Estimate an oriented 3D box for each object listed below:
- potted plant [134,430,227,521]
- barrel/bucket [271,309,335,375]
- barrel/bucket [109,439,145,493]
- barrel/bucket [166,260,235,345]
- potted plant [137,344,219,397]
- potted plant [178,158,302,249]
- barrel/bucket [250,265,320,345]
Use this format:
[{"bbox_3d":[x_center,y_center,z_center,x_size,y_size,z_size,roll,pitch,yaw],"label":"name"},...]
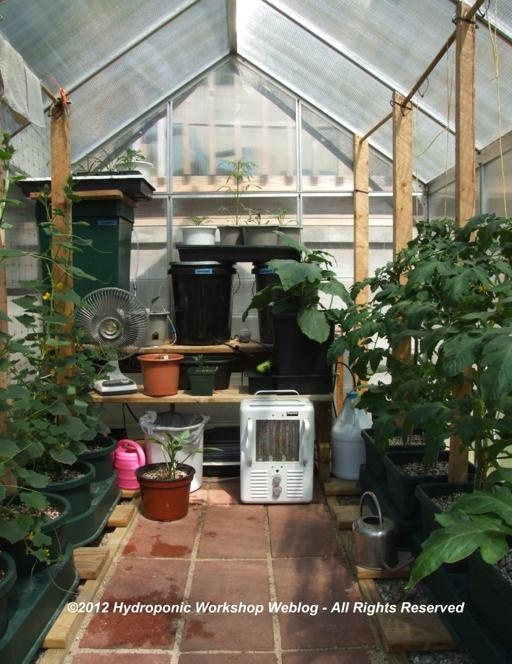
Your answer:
[{"bbox_3d":[-0.432,0.694,2.709,0.277,0.339,0.270,12,3,31],"label":"potted plant"},{"bbox_3d":[0.225,0.043,3.142,0.422,0.395,0.314,-1,2,0],"label":"barrel/bucket"},{"bbox_3d":[-0.702,0.715,3.018,0.193,0.259,0.151,3,4,22],"label":"barrel/bucket"},{"bbox_3d":[-0.356,-0.220,3.589,0.533,0.504,0.537,1,10,0],"label":"barrel/bucket"},{"bbox_3d":[-0.473,0.213,3.253,0.390,0.244,0.281,0,3,-30],"label":"potted plant"},{"bbox_3d":[-0.091,-0.911,3.788,0.776,0.699,0.654,1,2,3],"label":"potted plant"},{"bbox_3d":[0.181,-0.184,3.459,0.400,0.579,0.410,-1,-4,0],"label":"barrel/bucket"}]
